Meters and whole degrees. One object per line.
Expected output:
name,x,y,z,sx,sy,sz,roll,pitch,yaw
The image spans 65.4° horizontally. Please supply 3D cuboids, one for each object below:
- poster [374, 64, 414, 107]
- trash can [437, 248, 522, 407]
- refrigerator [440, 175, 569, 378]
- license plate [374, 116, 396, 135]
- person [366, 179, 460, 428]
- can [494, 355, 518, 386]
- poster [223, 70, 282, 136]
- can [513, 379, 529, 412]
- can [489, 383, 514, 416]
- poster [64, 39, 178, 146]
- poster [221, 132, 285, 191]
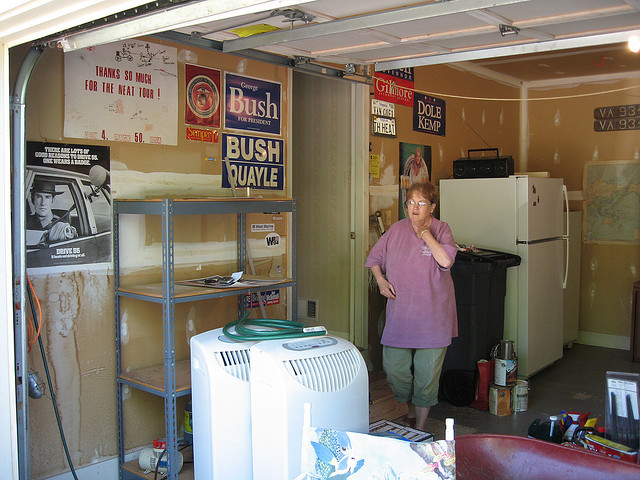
poster,0.733,-1.504,4.896,0.512,0.374,0.017,1,2,-36
trash can,1.407,0.775,4.472,0.662,1.339,0.372,-3,5,-31
refrigerator,1.871,0.328,4.958,1.292,1.877,0.817,0,4,7
license plate,0.626,-1.098,4.828,0.021,0.150,0.306,4,6,44
person,0.675,0.497,3.648,0.605,1.822,0.325,1,4,15
can,1.600,1.113,4.293,0.200,0.220,0.207,3,6,29
poster,-0.492,-0.990,3.721,0.570,0.425,0.010,16,25,28
can,1.745,1.331,4.291,0.224,0.249,0.083,-4,5,-40
can,1.513,1.327,4.253,0.222,0.249,0.220,-2,0,-42
poster,-1.212,-0.886,2.986,0.705,0.609,0.074,-3,3,-44
poster,-0.489,-0.597,3.761,0.010,0.435,0.596,6,7,44
